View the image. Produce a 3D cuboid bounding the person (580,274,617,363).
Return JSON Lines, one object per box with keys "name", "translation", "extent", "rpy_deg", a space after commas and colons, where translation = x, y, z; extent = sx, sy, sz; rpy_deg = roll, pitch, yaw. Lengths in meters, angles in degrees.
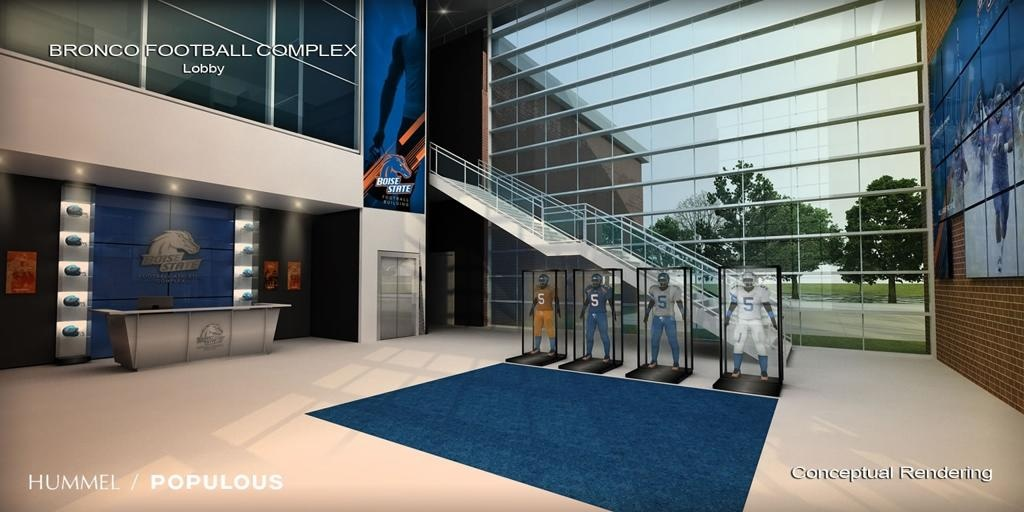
{"name": "person", "translation": [3.006, 2.162, 19.127], "extent": [1.133, 3.071, 1.283], "rpy_deg": [1, 8, 9]}
